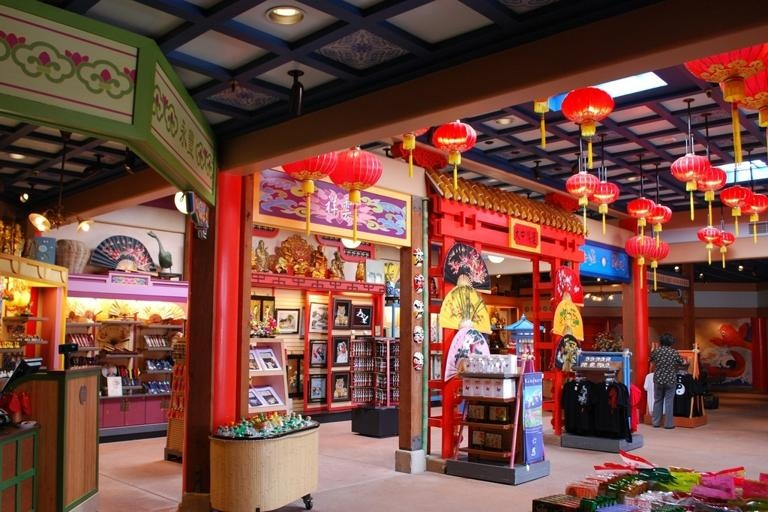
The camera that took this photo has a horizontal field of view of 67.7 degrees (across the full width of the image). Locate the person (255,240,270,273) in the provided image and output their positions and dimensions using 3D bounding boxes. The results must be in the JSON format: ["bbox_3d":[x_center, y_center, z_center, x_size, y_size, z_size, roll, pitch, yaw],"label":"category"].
[{"bbox_3d":[-2.636,-0.027,12.349,0.323,0.718,0.353,1,-6,-10],"label":"person"}]

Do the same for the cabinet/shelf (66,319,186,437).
[{"bbox_3d":[-4.497,2.124,9.900,0.781,1.999,2.403,-11,-13,38],"label":"cabinet/shelf"}]

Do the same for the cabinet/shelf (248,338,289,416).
[{"bbox_3d":[-1.726,1.713,8.339,0.495,1.044,0.753,-3,-7,27],"label":"cabinet/shelf"}]

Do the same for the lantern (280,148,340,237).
[{"bbox_3d":[-0.891,-0.851,7.323,0.659,0.956,0.695,-1,-7,16],"label":"lantern"}]

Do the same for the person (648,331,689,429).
[{"bbox_3d":[6.369,2.911,12.833,0.521,1.755,0.591,4,-7,-27],"label":"person"}]

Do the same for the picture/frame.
[{"bbox_3d":[-1.385,2.154,12.756,2.684,2.664,0.156,4,-11,-34],"label":"picture/frame"}]

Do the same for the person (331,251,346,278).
[{"bbox_3d":[-1.107,0.183,13.630,0.322,0.681,0.414,0,-6,-1],"label":"person"}]

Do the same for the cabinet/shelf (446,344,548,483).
[{"bbox_3d":[1.724,2.428,8.772,1.495,1.613,1.367,-8,-15,33],"label":"cabinet/shelf"}]
